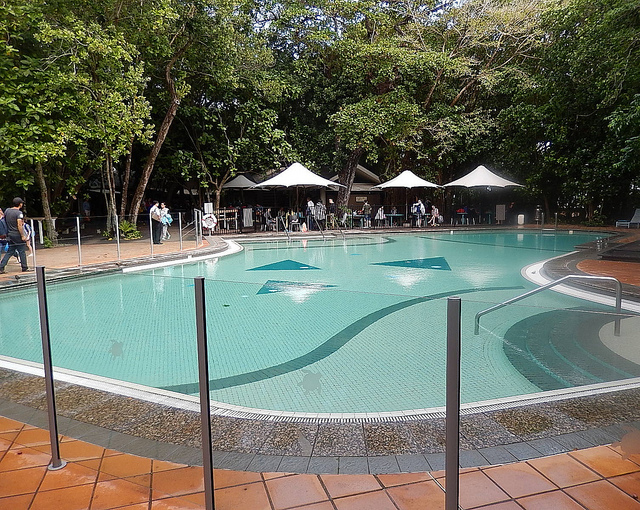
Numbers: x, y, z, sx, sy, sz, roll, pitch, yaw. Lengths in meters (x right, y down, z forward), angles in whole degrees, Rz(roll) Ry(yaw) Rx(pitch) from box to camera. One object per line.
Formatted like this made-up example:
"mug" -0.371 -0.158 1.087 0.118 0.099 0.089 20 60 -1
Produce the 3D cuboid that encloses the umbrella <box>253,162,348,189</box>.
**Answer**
"umbrella" -1.271 -4.260 21.324 3.046 1.317 2.272 -2 6 -6

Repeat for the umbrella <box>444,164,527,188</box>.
"umbrella" 10.133 -5.059 26.359 3.150 1.349 1.379 -3 6 -13

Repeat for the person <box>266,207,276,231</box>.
"person" -3.077 -2.286 25.841 0.543 1.402 2.488 -3 6 -8

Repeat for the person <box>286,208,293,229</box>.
"person" -1.762 -2.145 23.810 0.377 0.897 1.280 -2 6 -4

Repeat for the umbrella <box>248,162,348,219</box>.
"umbrella" -1.183 -4.205 26.397 3.821 2.018 3.968 4 9 30

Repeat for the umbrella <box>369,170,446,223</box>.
"umbrella" 5.899 -4.232 29.380 3.915 2.790 3.907 1 15 6

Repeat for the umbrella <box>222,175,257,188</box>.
"umbrella" -5.297 -4.859 27.120 2.474 0.722 1.850 4 8 42
